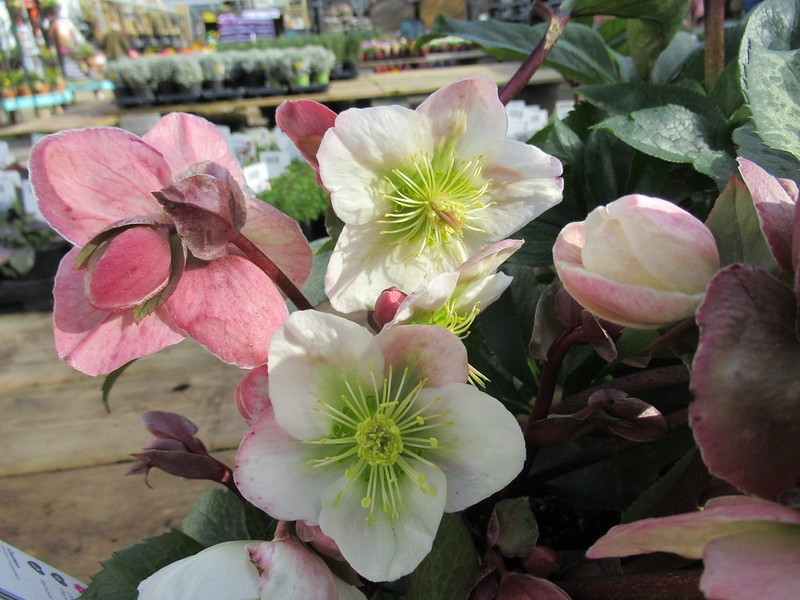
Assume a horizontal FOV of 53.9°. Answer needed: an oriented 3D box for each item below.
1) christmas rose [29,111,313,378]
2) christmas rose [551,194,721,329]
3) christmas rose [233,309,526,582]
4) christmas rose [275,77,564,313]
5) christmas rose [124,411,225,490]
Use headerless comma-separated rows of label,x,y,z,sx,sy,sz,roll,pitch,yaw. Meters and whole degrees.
christmas rose,-0.165,-0.050,0.589,0.185,0.162,0.152,-3,33,2
christmas rose,0.147,-0.027,0.576,0.107,0.081,0.088,34,33,28
christmas rose,-0.015,0.095,0.535,0.159,0.157,0.139,22,42,34
christmas rose,0.024,-0.075,0.590,0.190,0.157,0.065,-14,35,-14
christmas rose,-0.170,0.119,0.622,0.074,0.027,0.056,12,58,0
